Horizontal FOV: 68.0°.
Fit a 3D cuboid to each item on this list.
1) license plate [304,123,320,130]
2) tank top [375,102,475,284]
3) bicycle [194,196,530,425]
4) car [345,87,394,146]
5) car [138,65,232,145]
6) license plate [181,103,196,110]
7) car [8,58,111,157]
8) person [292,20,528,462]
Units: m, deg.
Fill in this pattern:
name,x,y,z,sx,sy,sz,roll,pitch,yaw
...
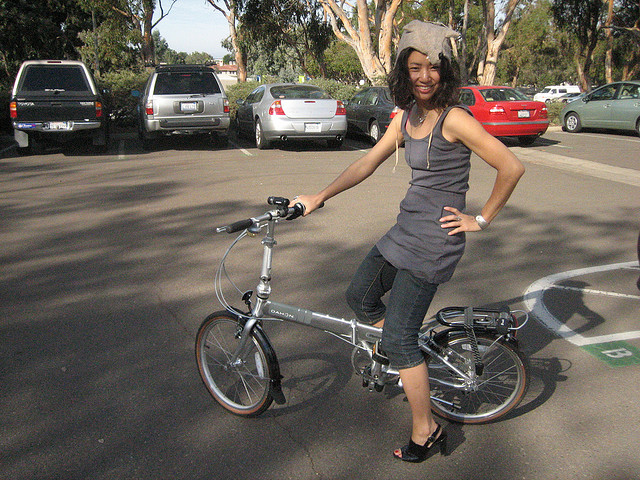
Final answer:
name,x,y,z,sx,sy,sz,roll,pitch,yaw
license plate,-0.208,-3.152,13.174,0.413,0.176,0.087,-3,20,-10
tank top,0.562,-0.248,2.580,0.472,0.915,0.301,6,20,15
bicycle,0.195,0.448,3.075,2.170,1.506,1.035,0,25,10
car,1.744,-4.105,15.776,1.664,1.539,3.822,-3,19,-10
car,-3.705,-3.830,13.217,1.514,1.460,2.743,-2,24,-11
license plate,-3.561,-3.640,12.939,0.379,0.165,0.053,-6,20,-17
car,-7.034,-3.493,12.796,2.221,2.492,1.883,-13,24,-31
person,0.549,0.023,2.808,0.662,2.433,0.977,-13,23,-33
